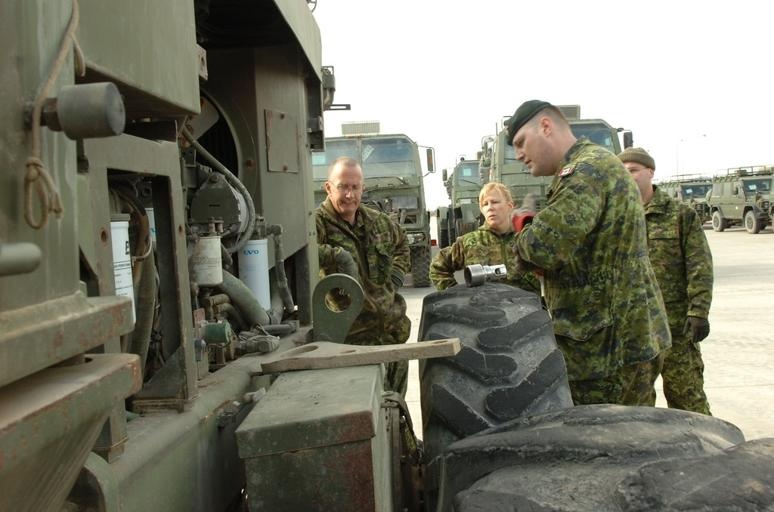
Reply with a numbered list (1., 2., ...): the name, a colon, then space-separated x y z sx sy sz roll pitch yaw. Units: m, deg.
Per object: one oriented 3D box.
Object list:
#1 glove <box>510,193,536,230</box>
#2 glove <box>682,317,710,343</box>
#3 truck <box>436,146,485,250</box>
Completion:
1. glove: 0.593 -0.190 2.674 0.065 0.086 0.204 11 48 31
2. glove: 1.812 0.438 3.619 0.120 0.159 0.141 -20 -40 33
3. truck: 1.775 -1.403 14.911 1.448 1.840 3.049 -1 0 -2
